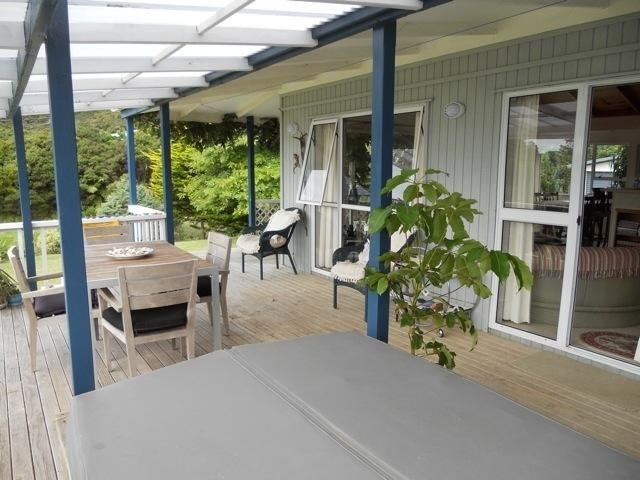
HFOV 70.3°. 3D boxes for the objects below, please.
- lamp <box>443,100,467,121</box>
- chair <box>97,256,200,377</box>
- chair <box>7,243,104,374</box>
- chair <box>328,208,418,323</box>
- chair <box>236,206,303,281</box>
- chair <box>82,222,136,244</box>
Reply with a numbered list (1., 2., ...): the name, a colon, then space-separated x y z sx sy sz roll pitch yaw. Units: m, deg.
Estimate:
1. lamp: 1.386 -1.376 4.723 0.103 0.180 0.226 -3 7 -35
2. chair: -1.364 0.624 3.656 0.582 1.009 0.765 -3 8 -35
3. chair: -2.431 0.552 4.151 0.606 1.053 1.277 -2 7 -33
4. chair: 0.597 0.344 5.272 0.890 1.009 1.643 1 6 -9
5. chair: -0.858 -0.004 7.116 1.166 1.135 1.033 -3 7 -32
6. chair: -2.545 -0.100 5.443 0.406 0.260 0.264 -2 2 -30
